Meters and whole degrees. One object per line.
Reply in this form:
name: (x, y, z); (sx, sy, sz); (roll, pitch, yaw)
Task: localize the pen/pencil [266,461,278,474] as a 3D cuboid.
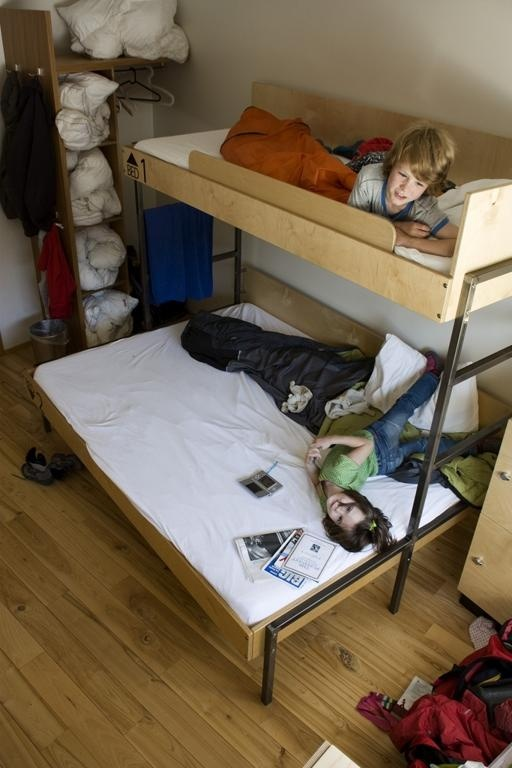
pen/pencil: (0.068, 0.341, 2.401); (0.018, 0.003, 0.069); (8, 29, 29)

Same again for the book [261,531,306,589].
book: (0.104, 0.562, 1.899); (0.087, 0.010, 0.187); (21, 33, 18)

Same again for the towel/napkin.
towel/napkin: (-0.468, -0.786, 3.506); (0.500, 0.670, 0.094); (-24, 46, -31)

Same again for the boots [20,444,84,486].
boots: (-0.971, 0.405, 2.831); (0.245, 0.080, 0.158); (-1, 46, -3)

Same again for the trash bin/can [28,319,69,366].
trash bin/can: (-1.203, -0.241, 3.459); (0.169, 0.240, 0.167); (-20, 51, -35)
